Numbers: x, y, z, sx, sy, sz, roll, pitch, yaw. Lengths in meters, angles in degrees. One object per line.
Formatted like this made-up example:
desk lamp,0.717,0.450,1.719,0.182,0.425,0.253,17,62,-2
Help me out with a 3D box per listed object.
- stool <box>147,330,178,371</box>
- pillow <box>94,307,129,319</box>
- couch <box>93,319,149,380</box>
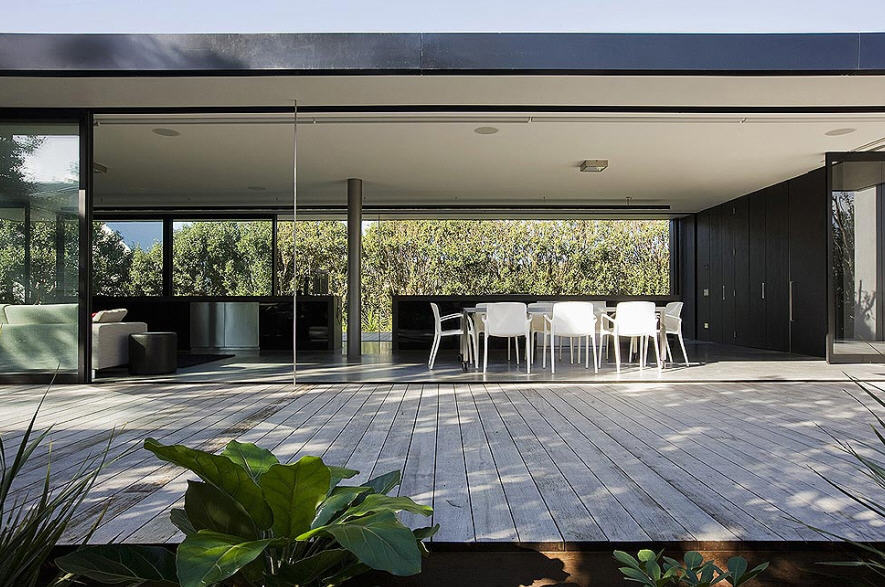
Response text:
stool,-3.774,0.764,9.508,0.441,0.526,0.451,-1,-1,18
pillow,-4.577,0.295,9.648,0.388,0.194,0.498,-2,1,-27
couch,-4.246,0.587,9.263,0.524,0.690,0.991,0,1,-4
